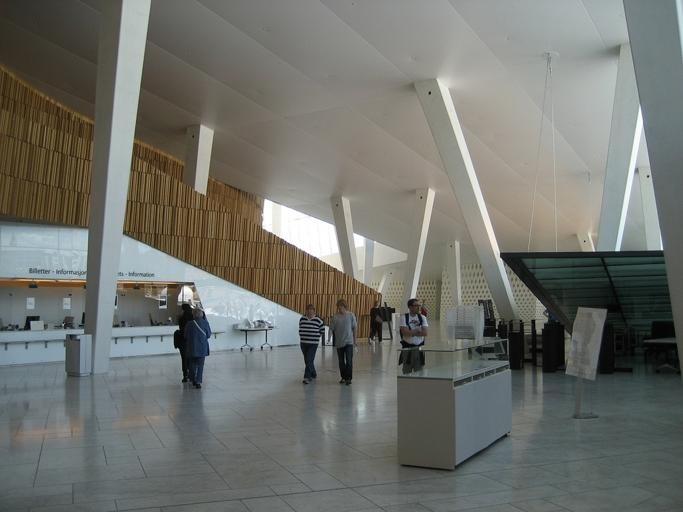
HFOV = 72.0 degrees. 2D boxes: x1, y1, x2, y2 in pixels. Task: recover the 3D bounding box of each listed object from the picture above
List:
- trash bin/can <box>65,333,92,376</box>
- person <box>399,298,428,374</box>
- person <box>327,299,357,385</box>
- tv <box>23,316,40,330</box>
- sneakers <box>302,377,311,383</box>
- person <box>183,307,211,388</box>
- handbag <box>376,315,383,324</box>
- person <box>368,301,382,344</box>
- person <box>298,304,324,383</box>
[{"bbox_3d":[-6.302,2.353,11.246,0.576,0.979,0.393,-1,-6,-19],"label":"trash bin/can"},{"bbox_3d":[1.288,1.503,8.337,0.442,1.590,0.422,-4,16,-2],"label":"person"},{"bbox_3d":[0.060,1.855,10.176,0.522,1.810,0.743,-3,-6,-2],"label":"person"},{"bbox_3d":[-8.860,1.860,13.562,0.337,0.508,0.469,-9,-10,35],"label":"tv"},{"bbox_3d":[-0.767,2.741,10.438,0.088,0.074,0.208,-14,-6,-34],"label":"sneakers"},{"bbox_3d":[-3.071,1.917,10.017,0.491,1.651,0.797,-1,-6,-20],"label":"person"},{"bbox_3d":[1.728,2.817,21.039,0.075,0.316,0.296,-11,-36,43],"label":"handbag"},{"bbox_3d":[1.578,3.065,21.237,0.452,1.568,1.390,-4,-6,6],"label":"person"},{"bbox_3d":[-0.707,1.981,10.959,0.506,1.722,2.027,-2,-6,-5],"label":"person"}]
